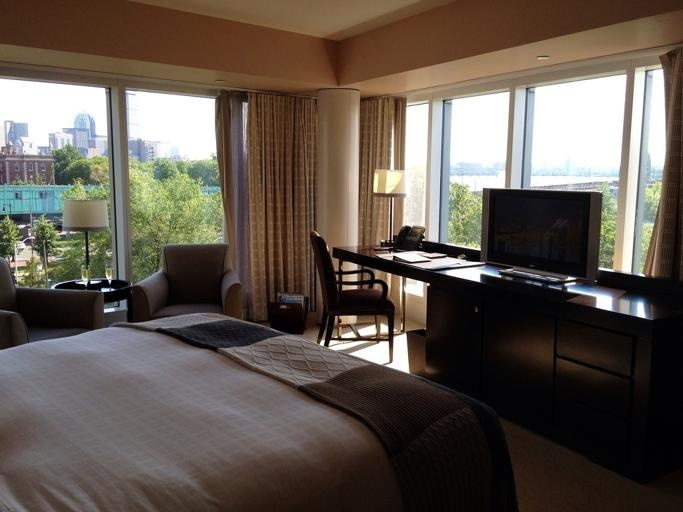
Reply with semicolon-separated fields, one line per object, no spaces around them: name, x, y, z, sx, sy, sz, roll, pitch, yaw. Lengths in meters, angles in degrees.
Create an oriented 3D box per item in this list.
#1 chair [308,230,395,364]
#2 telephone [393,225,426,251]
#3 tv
chair;0.115;0.340;5.311;1.009;1.602;1.052;-1;8;-3
telephone;0.630;-0.164;4.948;0.064;0.242;0.235;21;-1;-43
tv;1.392;-0.135;3.704;0.064;0.459;0.632;-8;13;-35
